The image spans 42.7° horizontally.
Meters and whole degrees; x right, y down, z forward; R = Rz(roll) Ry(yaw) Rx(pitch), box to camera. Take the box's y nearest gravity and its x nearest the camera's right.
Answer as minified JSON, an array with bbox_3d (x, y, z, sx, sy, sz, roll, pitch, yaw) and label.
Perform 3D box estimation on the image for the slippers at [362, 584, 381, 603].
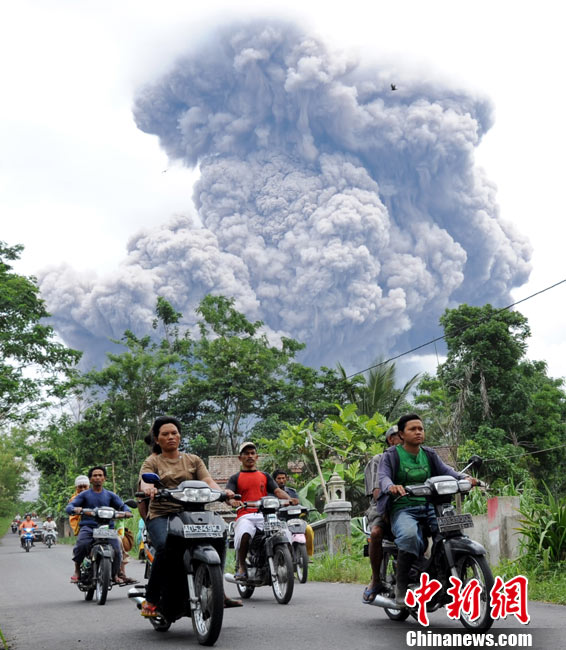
[{"bbox_3d":[0.716,2.209,5.885,0.092,0.195,0.086,0,-42,32],"label":"slippers"}]

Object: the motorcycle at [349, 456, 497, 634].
[{"bbox_3d":[1.162,1.693,5.498,0.741,1.303,1.396,3,-13,-11],"label":"motorcycle"}]

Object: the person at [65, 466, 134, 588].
[{"bbox_3d":[-2.386,2.557,9.193,0.709,1.498,1.510,4,-11,-21],"label":"person"}]

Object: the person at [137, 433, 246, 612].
[{"bbox_3d":[-0.707,1.445,5.093,0.717,0.950,1.501,4,-6,-26],"label":"person"}]

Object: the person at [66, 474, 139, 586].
[{"bbox_3d":[-2.350,2.540,9.222,0.748,1.430,0.868,0,-8,3],"label":"person"}]
